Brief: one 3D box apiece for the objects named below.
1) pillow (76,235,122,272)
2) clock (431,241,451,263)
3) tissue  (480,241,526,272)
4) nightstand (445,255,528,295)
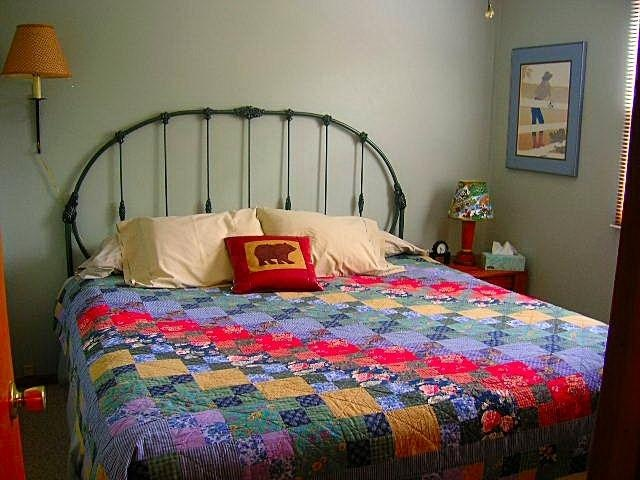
[{"bbox_3d":[-1.236,0.097,2.762,0.204,0.078,0.204,-17,51,-18],"label":"pillow"},{"bbox_3d":[0.900,0.087,3.657,0.144,0.178,0.027,-5,7,-31],"label":"clock"},{"bbox_3d":[1.303,0.113,3.522,0.287,0.210,0.214,1,7,2],"label":"tissue "},{"bbox_3d":[1.211,0.217,3.552,0.412,0.421,0.324,-4,14,-16],"label":"nightstand"}]
